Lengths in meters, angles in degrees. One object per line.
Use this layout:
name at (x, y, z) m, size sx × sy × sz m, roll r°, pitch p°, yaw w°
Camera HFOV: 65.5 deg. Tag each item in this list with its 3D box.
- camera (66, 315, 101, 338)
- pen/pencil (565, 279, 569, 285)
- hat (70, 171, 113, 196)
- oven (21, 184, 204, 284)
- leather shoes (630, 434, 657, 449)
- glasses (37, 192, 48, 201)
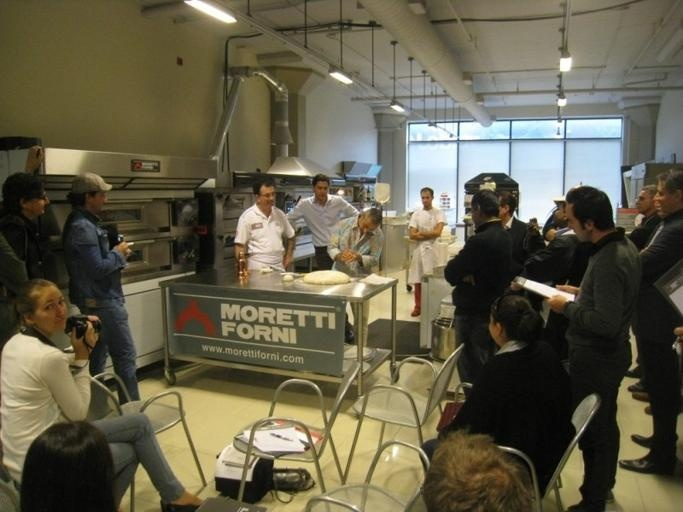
camera at (-1.487, 0.422, 3.089) m, size 0.137 × 0.087 × 0.141 m, roll 25°, pitch 11°, yaw 31°
pen/pencil at (1.761, 0.198, 4.157) m, size 0.013 × 0.012 × 0.045 m, roll -16°, pitch 20°, yaw 14°
hat at (-2.033, -0.568, 4.286) m, size 0.249 × 0.134 × 0.181 m, roll -1°, pitch 16°, yaw -31°
oven at (-2.286, -0.283, 5.450) m, size 0.800 × 1.124 × 1.559 m, roll 6°, pitch 10°, yaw 43°
leather shoes at (2.347, 1.428, 4.166) m, size 0.144 × 0.074 × 0.168 m, roll 7°, pitch 8°, yaw 38°
glasses at (-2.299, -0.458, 4.109) m, size 0.018 × 0.068 × 0.174 m, roll 0°, pitch 6°, yaw -16°
